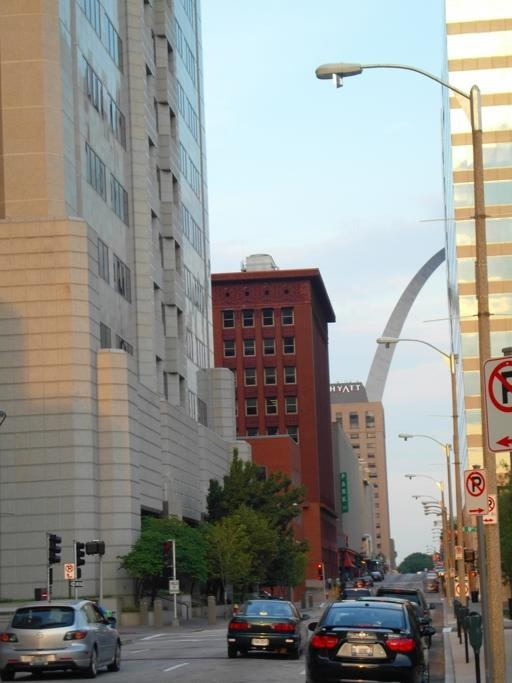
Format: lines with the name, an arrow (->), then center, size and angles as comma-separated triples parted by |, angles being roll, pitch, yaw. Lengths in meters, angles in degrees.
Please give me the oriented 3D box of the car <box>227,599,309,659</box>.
car -> 0.241, 7.021, 36.566 | 1.734, 1.547, 1.951 | -9, -17, 17
